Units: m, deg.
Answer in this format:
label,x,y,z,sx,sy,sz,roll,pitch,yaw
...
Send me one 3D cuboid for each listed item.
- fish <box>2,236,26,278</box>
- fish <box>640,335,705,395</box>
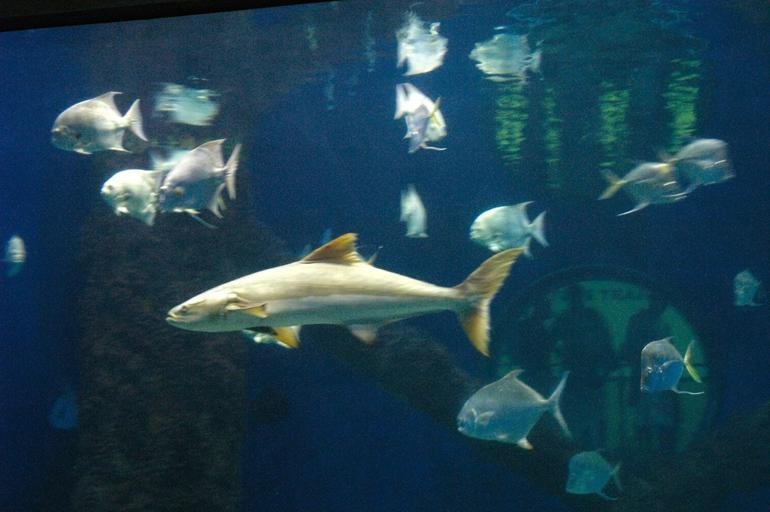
label,x,y,z,sx,sy,sz,roll,pitch,yaw
fish,-5.836,-0.021,13.542,0.377,0.577,0.355,-15,18,-17
fish,4.095,1.565,12.537,0.827,0.718,0.279,-13,18,-17
